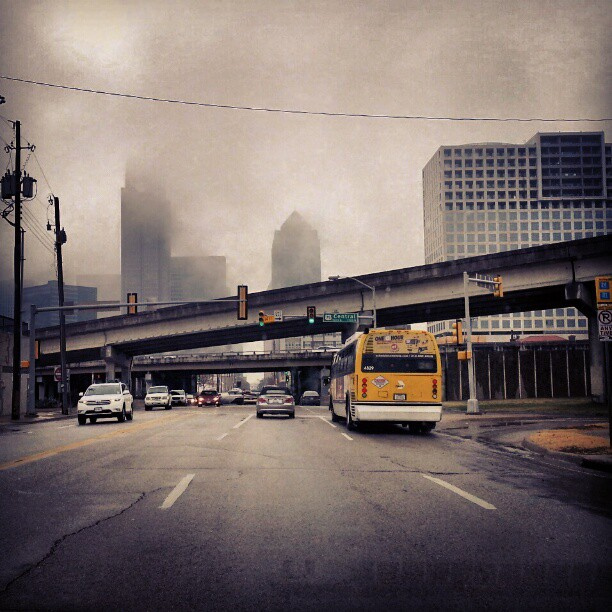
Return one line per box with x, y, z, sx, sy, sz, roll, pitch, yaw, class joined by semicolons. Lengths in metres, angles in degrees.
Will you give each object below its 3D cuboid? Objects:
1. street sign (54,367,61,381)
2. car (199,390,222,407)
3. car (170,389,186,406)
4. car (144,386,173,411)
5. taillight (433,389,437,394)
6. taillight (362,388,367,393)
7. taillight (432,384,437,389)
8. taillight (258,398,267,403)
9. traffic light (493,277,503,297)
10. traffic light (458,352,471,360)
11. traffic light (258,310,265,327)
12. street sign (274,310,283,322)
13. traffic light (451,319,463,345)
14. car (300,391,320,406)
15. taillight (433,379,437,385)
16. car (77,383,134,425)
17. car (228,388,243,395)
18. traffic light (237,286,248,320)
-13.921;3.958;45.111;0.297;0.716;1.956;0;-5;-19;street sign
-8.183;7.984;67.975;1.217;1.194;2.416;0;-10;-5;car
-10.609;7.630;66.460;1.218;1.444;3.106;0;-10;-6;car
-9.695;6.203;53.069;1.002;1.259;2.265;-1;-15;-4;car
3.592;2.448;22.448;0.086;0.178;0.078;0;0;-1;taillight
1.621;2.411;22.371;0.150;0.115;0.028;-3;-4;29;taillight
3.598;2.298;22.470;0.094;0.131;0.060;0;-2;10;taillight
-1.803;3.963;33.077;0.316;0.195;0.128;-3;-4;19;taillight
8.777;-0.776;36.874;0.329;0.893;1.248;-1;-4;12;traffic light
7.134;2.355;36.243;0.392;0.331;0.454;0;-6;2;traffic light
-2.786;0.900;50.131;0.253;1.162;0.407;0;15;2;traffic light
-1.800;0.819;51.158;0.557;0.817;0.378;1;-7;-13;street sign
7.650;1.467;40.662;0.455;1.284;3.419;-1;-5;10;traffic light
0.323;8.613;73.132;1.644;1.152;3.288;-1;-5;2;car
3.607;2.192;22.491;0.111;0.148;0.051;0;-3;-19;taillight
-7.481;3.713;30.703;1.040;1.141;2.445;-1;-14;-4;car
-8.680;10.800;97.997;1.923;1.298;3.075;0;-3;-3;car
-3.137;-0.016;39.397;0.399;1.488;1.138;0;-4;-8;traffic light
